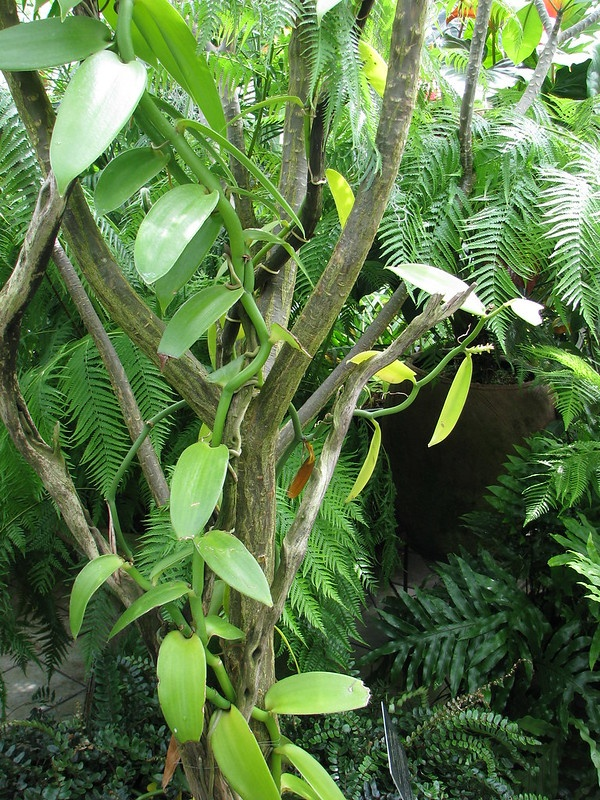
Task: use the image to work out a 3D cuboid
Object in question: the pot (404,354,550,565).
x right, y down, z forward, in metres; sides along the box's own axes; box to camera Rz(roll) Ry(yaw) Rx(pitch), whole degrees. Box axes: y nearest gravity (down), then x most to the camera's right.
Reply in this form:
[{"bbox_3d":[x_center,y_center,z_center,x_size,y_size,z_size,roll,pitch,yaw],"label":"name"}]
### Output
[{"bbox_3d":[0.266,0.066,0.992,0.151,0.189,0.147,-6,5,1],"label":"pot"}]
